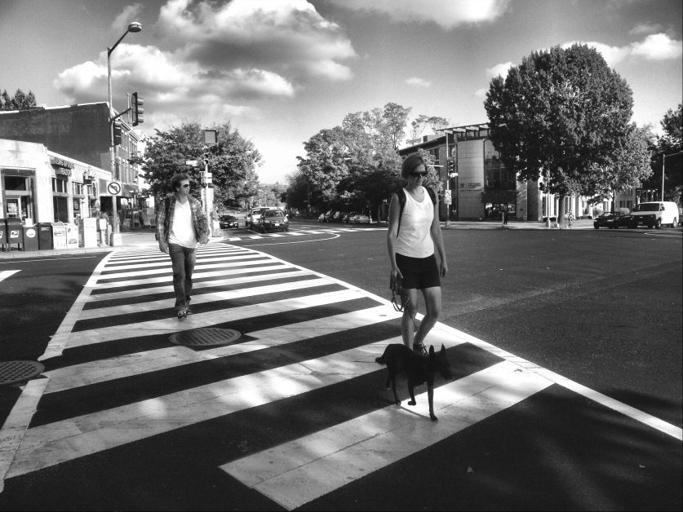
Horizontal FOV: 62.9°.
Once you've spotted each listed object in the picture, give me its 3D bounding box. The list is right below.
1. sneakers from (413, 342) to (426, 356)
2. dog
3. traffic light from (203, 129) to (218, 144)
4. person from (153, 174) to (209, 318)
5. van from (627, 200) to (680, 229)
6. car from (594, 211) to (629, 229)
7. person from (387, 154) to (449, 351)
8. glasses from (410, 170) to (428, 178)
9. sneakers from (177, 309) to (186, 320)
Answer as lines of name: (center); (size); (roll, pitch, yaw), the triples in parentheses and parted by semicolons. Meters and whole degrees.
sneakers: (0.807, 0.968, 5.764); (0.095, 0.130, 0.305); (-2, -9, 5)
dog: (0.689, 1.071, 5.349); (0.562, 0.656, 1.013); (0, 8, 2)
traffic light: (-6.867, -6.260, 29.302); (0.552, 0.724, 0.891); (-3, 8, -18)
person: (-2.436, -0.164, 8.626); (0.744, 2.190, 0.604); (-3, 7, -19)
van: (23.659, -3.050, 42.452); (4.222, 1.882, 2.230); (2, -3, -40)
car: (21.042, -2.807, 43.032); (2.748, 1.100, 1.323); (-3, 1, -43)
person: (0.776, -0.016, 5.737); (0.695, 2.067, 0.488); (-3, 7, -21)
glasses: (0.815, -0.827, 5.619); (0.145, 0.054, 0.221); (7, 11, 44)
sneakers: (-2.419, 0.884, 8.508); (0.082, 0.114, 0.157); (0, -13, -19)
